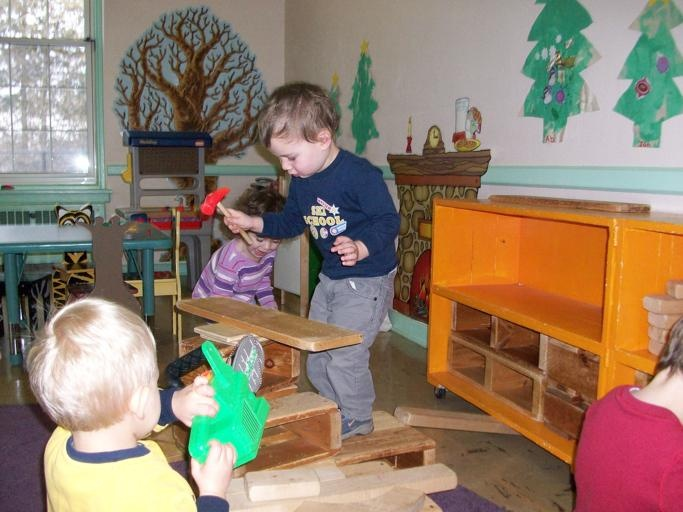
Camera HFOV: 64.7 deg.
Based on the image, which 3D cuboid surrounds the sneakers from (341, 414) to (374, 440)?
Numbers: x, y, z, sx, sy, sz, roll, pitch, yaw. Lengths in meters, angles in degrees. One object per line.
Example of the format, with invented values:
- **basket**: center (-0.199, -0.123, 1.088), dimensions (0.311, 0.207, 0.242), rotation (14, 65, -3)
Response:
- **sneakers**: center (0.053, 0.659, 2.060), dimensions (0.161, 0.071, 0.053), rotation (3, 1, -22)

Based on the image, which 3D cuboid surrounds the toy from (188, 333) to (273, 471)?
- **toy**: center (-0.297, 0.368, 1.403), dimensions (0.175, 0.342, 0.105), rotation (-20, -29, 10)

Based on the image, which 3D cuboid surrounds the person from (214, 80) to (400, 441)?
- **person**: center (-0.028, -0.015, 2.202), dimensions (0.466, 1.351, 0.768), rotation (-11, 13, -41)

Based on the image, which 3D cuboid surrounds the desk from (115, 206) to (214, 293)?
- **desk**: center (-1.489, -0.057, 4.469), dimensions (0.634, 0.546, 0.482), rotation (0, 2, -16)
